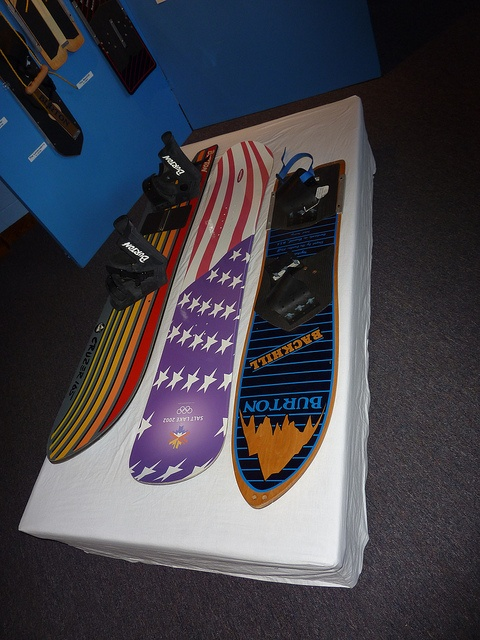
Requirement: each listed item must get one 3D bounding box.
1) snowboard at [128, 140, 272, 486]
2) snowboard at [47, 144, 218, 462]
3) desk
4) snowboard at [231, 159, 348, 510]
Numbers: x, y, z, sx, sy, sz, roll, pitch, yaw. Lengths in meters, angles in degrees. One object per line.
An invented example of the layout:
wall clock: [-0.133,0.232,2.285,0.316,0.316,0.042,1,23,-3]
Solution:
snowboard: [-0.122,-0.283,2.517,0.408,0.117,2.379,-9,44,21]
snowboard: [-0.521,-0.147,2.746,0.417,0.105,2.130,-7,46,27]
desk: [0.206,-0.190,2.329,1.501,0.590,2.665,1,59,26]
snowboard: [0.321,-0.032,2.102,0.405,0.199,1.791,-5,48,26]
